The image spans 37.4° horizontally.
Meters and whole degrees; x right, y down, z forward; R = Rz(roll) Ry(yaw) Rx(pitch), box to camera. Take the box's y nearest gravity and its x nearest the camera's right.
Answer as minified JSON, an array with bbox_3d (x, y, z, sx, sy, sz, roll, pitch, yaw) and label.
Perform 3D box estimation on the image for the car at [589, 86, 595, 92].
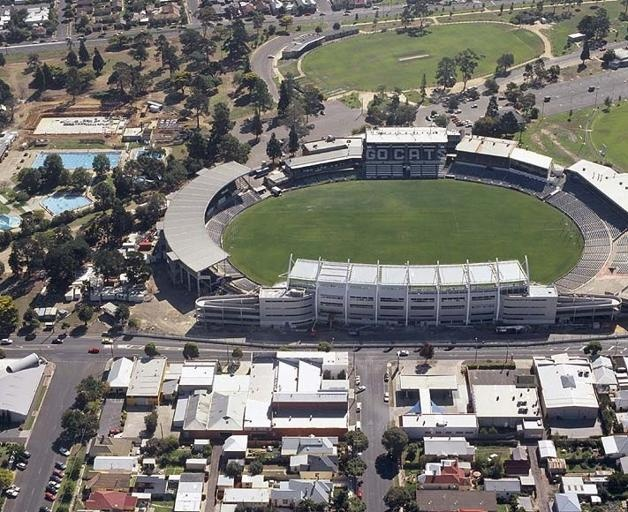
[{"bbox_3d":[98.020,-59.796,331.169,2.130,1.287,1.795,1,74,0],"label":"car"}]

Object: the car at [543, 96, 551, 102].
[{"bbox_3d":[81.247,-55.552,326.039,2.951,1.872,1.777,-3,78,5],"label":"car"}]
